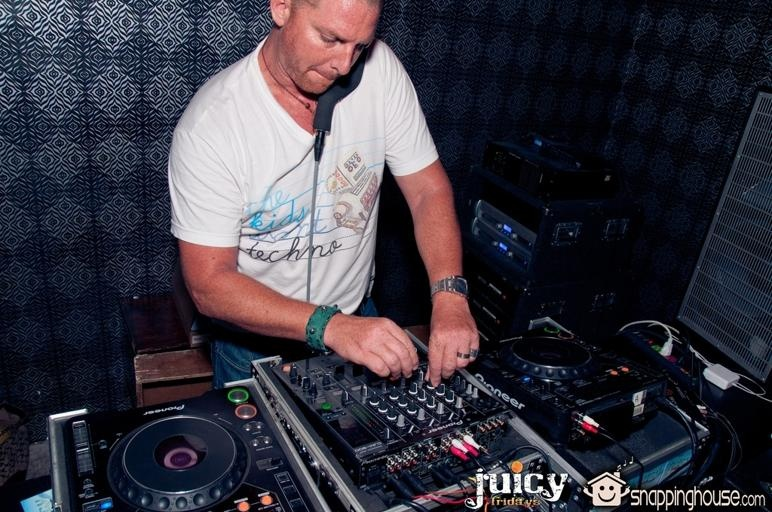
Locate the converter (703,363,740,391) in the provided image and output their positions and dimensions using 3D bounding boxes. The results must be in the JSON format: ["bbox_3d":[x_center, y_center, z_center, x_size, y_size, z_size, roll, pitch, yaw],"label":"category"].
[{"bbox_3d":[1.529,0.541,2.424,0.113,0.029,0.110,-20,31,-40],"label":"converter"}]

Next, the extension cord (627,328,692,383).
[{"bbox_3d":[1.272,0.462,2.471,0.191,0.088,0.369,-18,30,-22],"label":"extension cord"}]

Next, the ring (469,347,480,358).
[{"bbox_3d":[0.316,0.350,1.953,0.038,0.038,0.030,9,67,45],"label":"ring"}]

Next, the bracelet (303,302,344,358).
[{"bbox_3d":[-0.231,0.249,1.947,0.103,0.159,0.170,22,3,24],"label":"bracelet"}]
